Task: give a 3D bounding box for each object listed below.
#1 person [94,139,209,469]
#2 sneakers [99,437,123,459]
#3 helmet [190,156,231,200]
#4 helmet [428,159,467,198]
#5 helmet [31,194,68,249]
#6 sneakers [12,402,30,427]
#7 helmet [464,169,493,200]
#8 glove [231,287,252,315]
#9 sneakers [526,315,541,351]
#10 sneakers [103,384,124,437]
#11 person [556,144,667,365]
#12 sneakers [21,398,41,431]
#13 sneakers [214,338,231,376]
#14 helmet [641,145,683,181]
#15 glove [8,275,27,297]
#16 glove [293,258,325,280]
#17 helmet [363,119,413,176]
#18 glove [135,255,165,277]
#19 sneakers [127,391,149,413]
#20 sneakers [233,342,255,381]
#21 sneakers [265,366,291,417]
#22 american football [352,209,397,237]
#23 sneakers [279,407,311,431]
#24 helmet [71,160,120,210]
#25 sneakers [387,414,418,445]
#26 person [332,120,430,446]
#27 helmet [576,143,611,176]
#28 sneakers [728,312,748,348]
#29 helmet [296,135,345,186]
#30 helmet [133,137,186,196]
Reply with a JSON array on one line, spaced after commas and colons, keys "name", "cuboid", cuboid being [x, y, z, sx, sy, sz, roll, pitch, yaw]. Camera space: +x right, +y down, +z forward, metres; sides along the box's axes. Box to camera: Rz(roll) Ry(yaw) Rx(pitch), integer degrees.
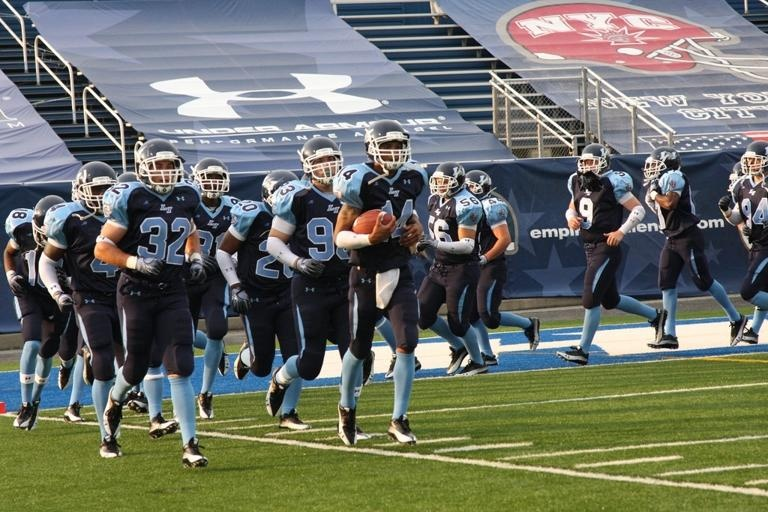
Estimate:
[{"name": "person", "cuboid": [-2.224, 0.455, 13.157, 1.076, 3.036, 1.047, -5, 13, -7]}, {"name": "sneakers", "cuboid": [-2.662, 1.881, 13.441, 0.123, 0.122, 0.277, 6, -9, -39]}, {"name": "helmet", "cuboid": [-1.824, -0.802, 14.885, 0.427, 0.370, 0.481, 0, -12, -6]}, {"name": "helmet", "cuboid": [0.746, -0.891, 15.810, 0.468, 0.315, 0.326, -12, 12, -34]}, {"name": "helmet", "cuboid": [-3.552, -0.347, 14.547, 0.434, 0.372, 0.321, -11, 12, 10]}, {"name": "sneakers", "cuboid": [-3.806, 1.674, 14.450, 0.120, 0.301, 0.146, 3, -23, -2]}, {"name": "helmet", "cuboid": [1.115, -0.872, 16.611, 0.399, 0.281, 0.284, 7, -9, -39]}, {"name": "glove", "cuboid": [-1.470, 0.461, 14.034, 0.119, 0.262, 0.196, -33, -13, -20]}, {"name": "sneakers", "cuboid": [1.837, 0.948, 16.981, 0.217, 0.408, 0.147, -7, 25, -1]}, {"name": "sneakers", "cuboid": [-2.612, 1.512, 13.508, 0.225, 0.490, 0.187, 8, 0, 33]}, {"name": "person", "cuboid": [2.644, -0.007, 16.495, 1.193, 2.620, 1.303, -1, 13, 9]}, {"name": "sneakers", "cuboid": [-3.714, 1.664, 14.486, 0.120, 0.305, 0.148, 4, -9, -3]}, {"name": "sneakers", "cuboid": [-1.798, 1.138, 15.395, 0.161, 0.403, 0.195, -7, 6, -15]}, {"name": "helmet", "cuboid": [3.524, -1.174, 17.357, 0.527, 0.365, 0.362, -6, 2, 10]}, {"name": "glove", "cuboid": [-3.943, 0.317, 14.801, 0.088, 0.210, 0.170, 6, -23, -43]}, {"name": "glove", "cuboid": [-0.753, 0.116, 13.705, 0.294, 0.224, 0.303, -4, 12, -4]}, {"name": "helmet", "cuboid": [0.116, -1.049, 13.459, 0.403, 0.407, 0.476, -4, -9, 2]}, {"name": "glove", "cuboid": [-2.231, 0.094, 13.083, 0.259, 0.184, 0.198, -4, 12, -4]}, {"name": "sneakers", "cuboid": [-2.673, 1.574, 14.911, 0.258, 0.210, 0.203, 1, -5, 34]}, {"name": "sneakers", "cuboid": [-1.586, 1.187, 15.202, 0.260, 0.201, 0.581, -36, 23, 10]}, {"name": "sneakers", "cuboid": [-1.071, 1.403, 14.246, 0.260, 0.514, 0.194, 8, 3, 34]}, {"name": "american football", "cuboid": [-0.098, -0.292, 13.185, 0.354, 0.189, 0.217, -16, 18, 4]}, {"name": "sneakers", "cuboid": [-0.938, 1.687, 14.193, 0.397, 0.163, 0.145, 1, -1, 26]}, {"name": "helmet", "cuboid": [-2.868, -0.658, 13.988, 0.407, 0.386, 0.513, 8, -16, -16]}, {"name": "sneakers", "cuboid": [0.173, 1.701, 13.417, 0.154, 0.202, 0.423, 3, 2, -35]}, {"name": "person", "cuboid": [-0.051, 0.266, 13.430, 0.946, 3.098, 0.813, -3, 13, 1]}, {"name": "helmet", "cuboid": [2.503, -1.139, 16.527, 0.328, 0.296, 0.421, -3, -2, 26]}, {"name": "sneakers", "cuboid": [4.334, 0.913, 16.922, 0.238, 0.397, 0.157, 10, 2, 0]}, {"name": "helmet", "cuboid": [-0.610, -0.978, 13.820, 0.392, 0.325, 0.445, -9, 2, 0]}, {"name": "helmet", "cuboid": [-2.116, -0.816, 13.330, 0.454, 0.463, 0.598, 1, -11, -6]}]
